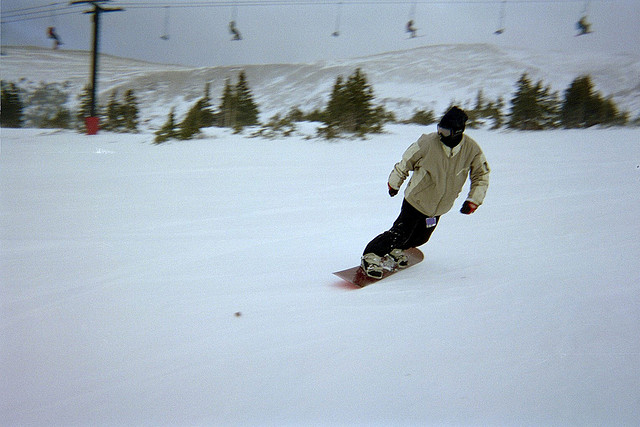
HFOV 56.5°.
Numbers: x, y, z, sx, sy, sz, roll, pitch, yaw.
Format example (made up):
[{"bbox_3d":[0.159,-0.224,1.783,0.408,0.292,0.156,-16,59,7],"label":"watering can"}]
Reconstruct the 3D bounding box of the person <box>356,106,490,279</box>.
[{"bbox_3d":[1.033,-0.135,6.006,1.242,1.866,0.669,0,30,-15],"label":"person"}]

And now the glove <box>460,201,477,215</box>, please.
[{"bbox_3d":[1.459,-0.055,5.808,0.140,0.142,0.153,5,11,9],"label":"glove"}]

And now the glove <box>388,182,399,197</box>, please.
[{"bbox_3d":[0.708,-0.224,5.913,0.102,0.102,0.120,5,7,-45],"label":"glove"}]
